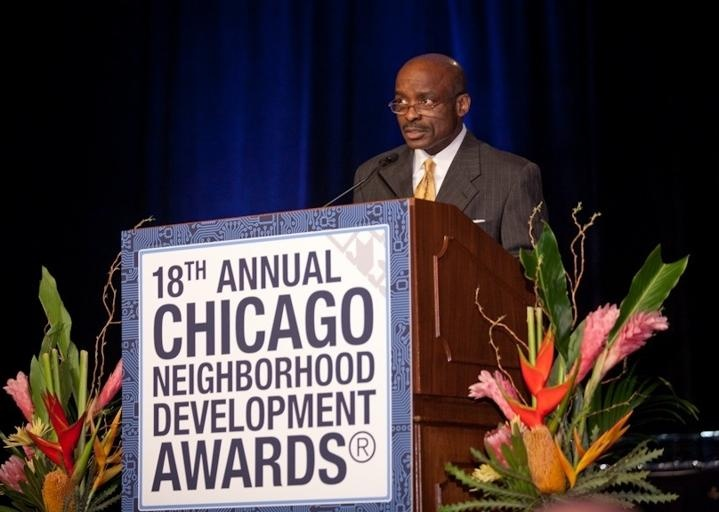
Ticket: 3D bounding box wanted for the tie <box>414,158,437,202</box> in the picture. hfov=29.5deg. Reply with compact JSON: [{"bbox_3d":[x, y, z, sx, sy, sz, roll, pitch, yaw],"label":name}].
[{"bbox_3d":[0.261,-0.288,5.233,0.068,0.205,0.024,14,36,18],"label":"tie"}]
